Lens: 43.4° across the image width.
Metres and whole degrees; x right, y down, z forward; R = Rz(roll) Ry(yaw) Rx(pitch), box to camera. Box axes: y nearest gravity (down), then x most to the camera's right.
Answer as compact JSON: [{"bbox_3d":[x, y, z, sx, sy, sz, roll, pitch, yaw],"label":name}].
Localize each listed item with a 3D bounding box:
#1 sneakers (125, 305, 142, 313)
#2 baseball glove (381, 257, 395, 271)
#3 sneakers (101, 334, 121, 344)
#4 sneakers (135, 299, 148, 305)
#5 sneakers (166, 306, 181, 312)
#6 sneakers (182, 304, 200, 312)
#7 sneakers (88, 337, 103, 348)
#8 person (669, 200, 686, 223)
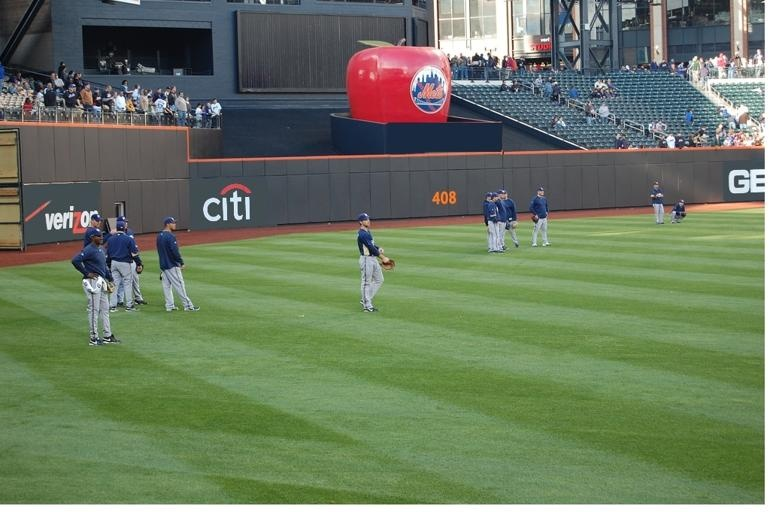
[{"bbox_3d":[-6.094,1.276,23.469,0.356,0.138,0.122,-2,6,-11],"label":"sneakers"},{"bbox_3d":[0.061,0.199,23.711,0.238,0.296,0.321,-37,46,0],"label":"baseball glove"},{"bbox_3d":[-5.874,1.779,20.800,0.447,0.176,0.155,0,3,-1],"label":"sneakers"},{"bbox_3d":[-6.053,1.142,24.127,0.298,0.123,0.113,1,4,8],"label":"sneakers"},{"bbox_3d":[-5.118,1.266,23.388,0.300,0.123,0.114,-4,18,-6],"label":"sneakers"},{"bbox_3d":[-4.628,1.232,23.245,0.413,0.172,0.141,-2,6,-4],"label":"sneakers"},{"bbox_3d":[-6.174,1.808,20.737,0.383,0.149,0.122,0,3,6],"label":"sneakers"},{"bbox_3d":[11.486,-1.728,37.829,0.441,0.874,0.714,5,15,12],"label":"person"}]
